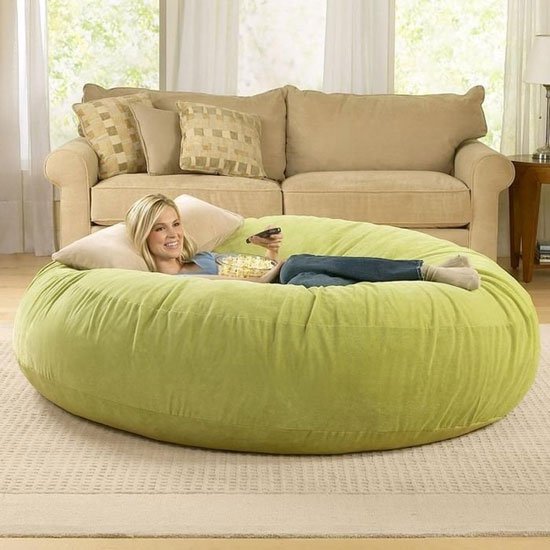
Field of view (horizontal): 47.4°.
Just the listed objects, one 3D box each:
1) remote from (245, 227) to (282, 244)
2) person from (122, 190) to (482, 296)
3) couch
[{"bbox_3d":[-0.039,-0.138,2.319,0.107,0.025,0.059,-15,-3,18],"label":"remote"},{"bbox_3d":[0.001,-0.099,2.225,1.375,0.426,0.424,2,6,14],"label":"person"},{"bbox_3d":[0.092,-0.611,3.695,3.121,1.037,1.021,2,24,-4],"label":"couch"}]
